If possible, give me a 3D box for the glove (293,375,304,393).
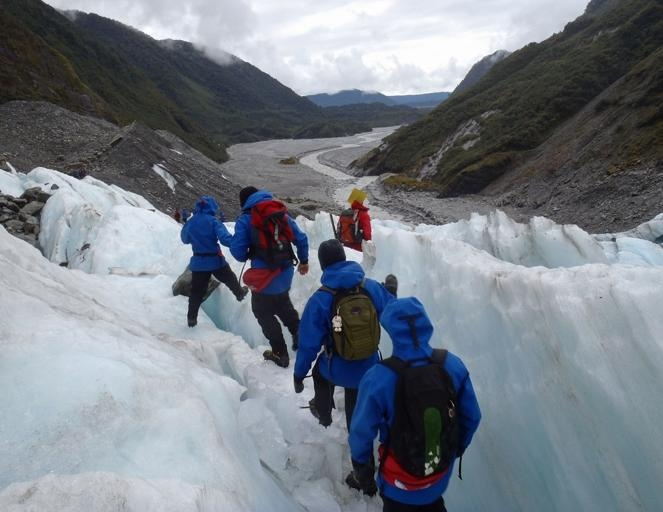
[{"bbox_3d":[-0.310,1.221,4.287,0.083,0.187,0.191,3,14,0],"label":"glove"}]

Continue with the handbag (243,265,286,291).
[{"bbox_3d":[-0.767,0.217,4.903,0.318,0.149,0.243,-32,40,-25],"label":"handbag"}]

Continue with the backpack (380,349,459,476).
[{"bbox_3d":[0.654,1.203,3.355,0.629,0.881,0.359,12,21,8],"label":"backpack"}]

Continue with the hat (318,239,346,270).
[{"bbox_3d":[0.030,-0.030,3.998,0.206,0.262,0.274,0,1,40],"label":"hat"}]

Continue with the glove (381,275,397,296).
[{"bbox_3d":[0.657,0.321,4.966,0.174,0.239,0.245,0,-7,0],"label":"glove"}]

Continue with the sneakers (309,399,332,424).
[{"bbox_3d":[-0.108,1.567,4.467,0.101,0.259,0.242,-35,34,-3],"label":"sneakers"}]
